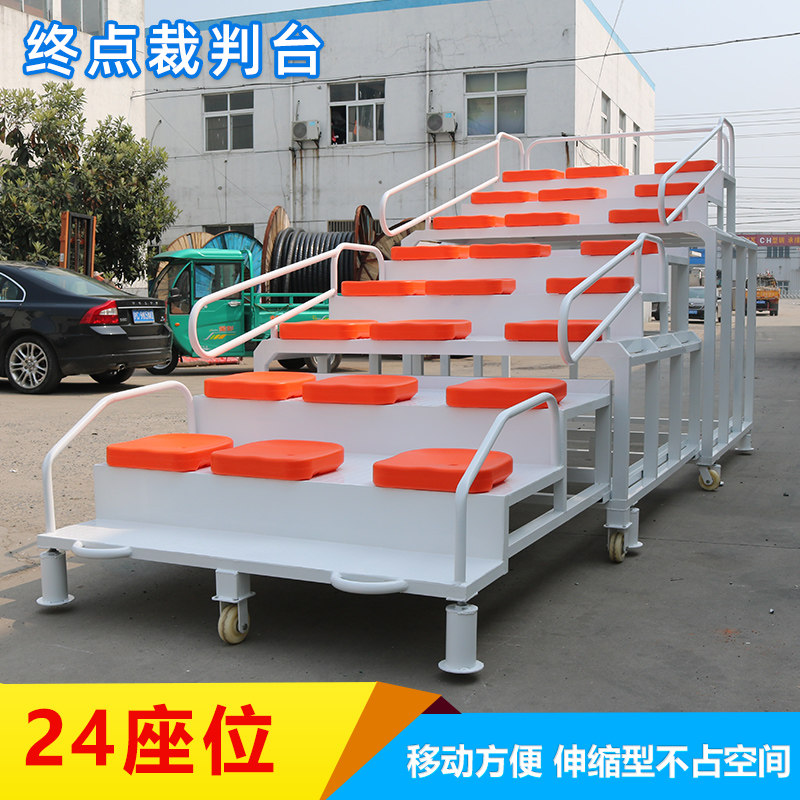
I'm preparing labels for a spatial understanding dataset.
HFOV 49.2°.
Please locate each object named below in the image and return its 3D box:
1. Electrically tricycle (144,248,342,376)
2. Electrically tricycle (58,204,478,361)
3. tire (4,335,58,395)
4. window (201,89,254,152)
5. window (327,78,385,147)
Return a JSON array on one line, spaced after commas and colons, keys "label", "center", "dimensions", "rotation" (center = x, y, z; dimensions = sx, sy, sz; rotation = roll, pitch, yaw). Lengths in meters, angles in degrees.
[{"label": "Electrically tricycle", "center": [-2.681, -1.649, 15.682], "dimensions": [3.315, 1.945, 2.164], "rotation": [1, 2, -4]}, {"label": "Electrically tricycle", "center": [-2.727, -2.045, 15.573], "dimensions": [5.293, 2.644, 3.388], "rotation": [-1, 6, -6]}, {"label": "tire", "center": [-4.872, -0.503, 11.572], "dimensions": [0.712, 0.698, 0.233], "rotation": [7, 10, 24]}, {"label": "window", "center": [-4.853, -8.004, 24.858], "dimensions": [1.866, 1.829, 0.179], "rotation": [1, 2, 27]}, {"label": "window", "center": [-1.144, -7.869, 23.728], "dimensions": [1.887, 1.915, 0.104], "rotation": [4, 8, 19]}]
